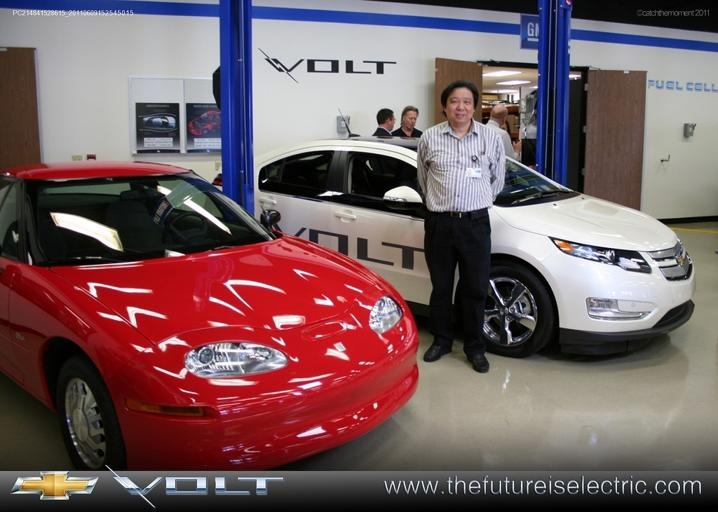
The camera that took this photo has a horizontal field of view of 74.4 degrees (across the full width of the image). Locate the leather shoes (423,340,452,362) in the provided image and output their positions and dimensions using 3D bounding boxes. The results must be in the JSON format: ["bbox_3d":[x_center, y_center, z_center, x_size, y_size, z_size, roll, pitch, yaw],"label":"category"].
[{"bbox_3d":[0.599,0.695,3.599,0.101,0.112,0.277,8,12,40],"label":"leather shoes"}]

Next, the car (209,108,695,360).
[{"bbox_3d":[0.721,-0.308,4.160,3.541,1.246,1.700,6,16,26],"label":"car"}]

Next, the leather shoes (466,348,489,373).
[{"bbox_3d":[0.854,0.750,3.399,0.086,0.091,0.231,-8,10,-9],"label":"leather shoes"}]

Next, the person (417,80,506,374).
[{"bbox_3d":[0.693,-0.215,3.395,0.603,1.996,0.407,4,14,18],"label":"person"}]
